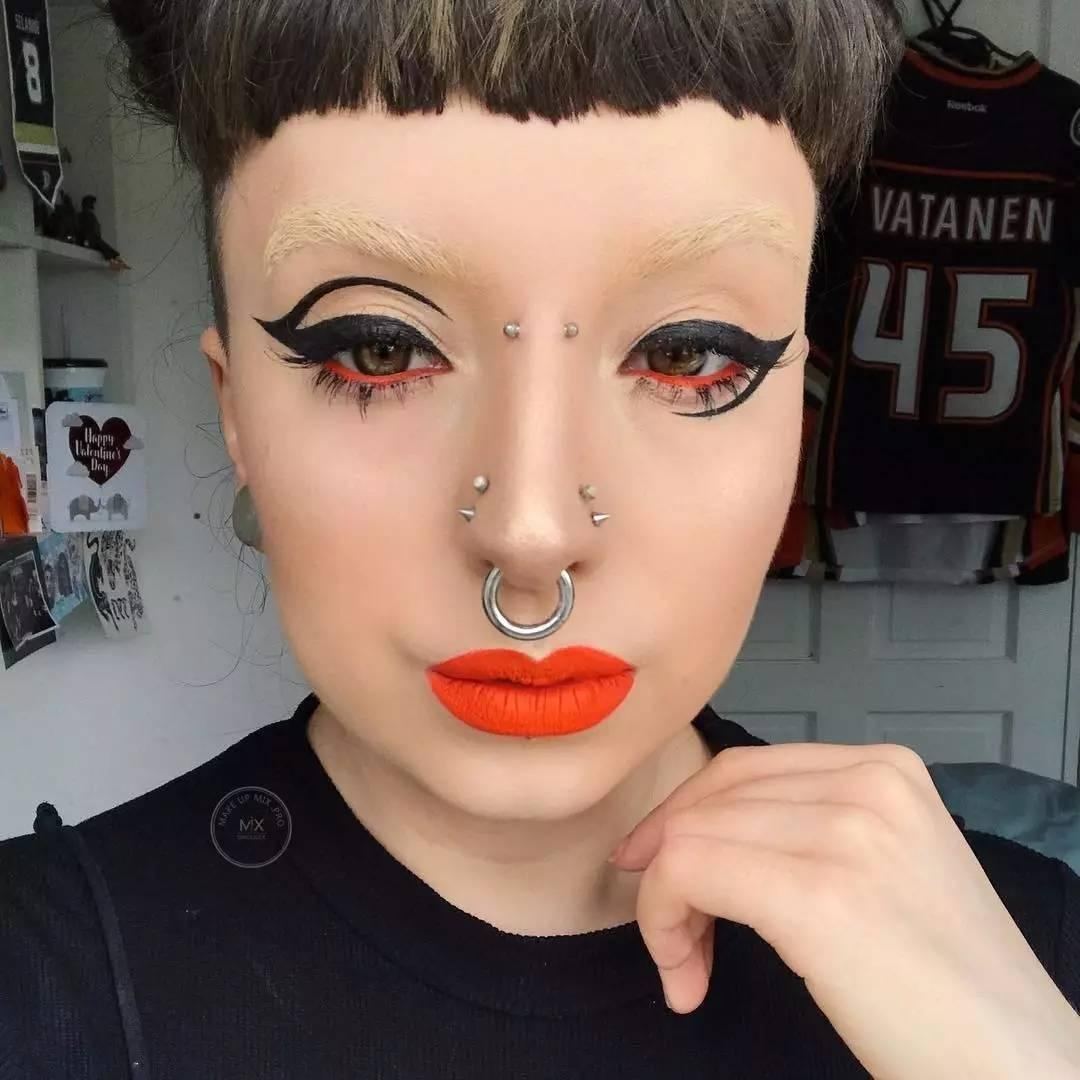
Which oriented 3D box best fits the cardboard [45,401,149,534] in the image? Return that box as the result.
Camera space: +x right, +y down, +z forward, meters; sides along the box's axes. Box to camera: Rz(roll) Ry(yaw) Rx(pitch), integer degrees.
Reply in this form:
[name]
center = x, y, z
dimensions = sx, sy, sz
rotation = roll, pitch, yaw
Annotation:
[cardboard]
center = -0.907, -0.146, 2.280
dimensions = 0.014, 0.280, 0.285
rotation = 2, 2, 31
